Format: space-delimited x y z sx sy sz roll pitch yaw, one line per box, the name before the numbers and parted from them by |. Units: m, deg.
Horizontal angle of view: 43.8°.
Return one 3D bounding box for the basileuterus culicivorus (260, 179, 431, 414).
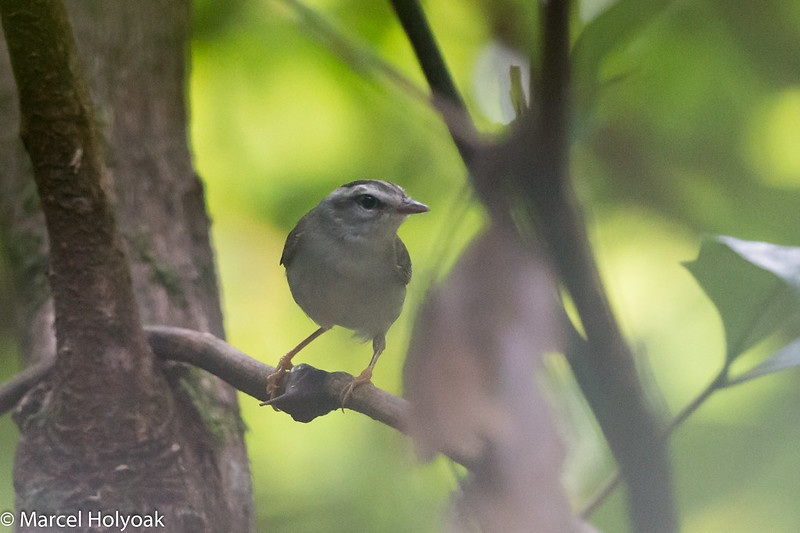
basileuterus culicivorus | -0.140 0.068 2.679 0.373 0.602 0.184 7 -5 -1
